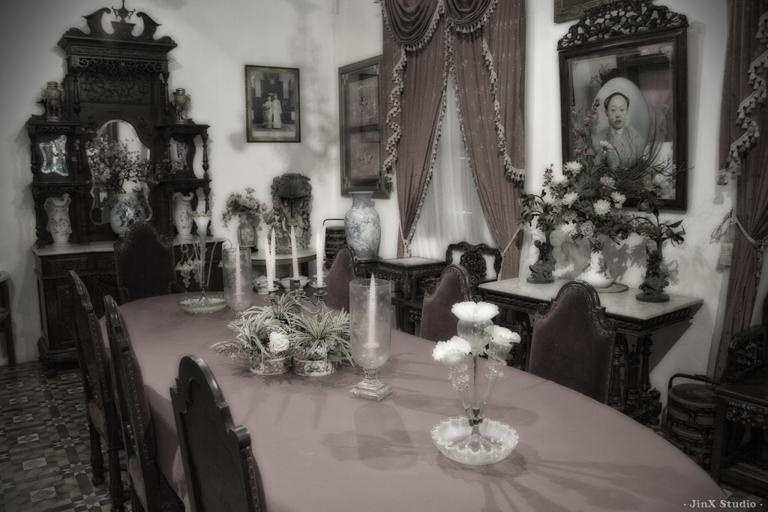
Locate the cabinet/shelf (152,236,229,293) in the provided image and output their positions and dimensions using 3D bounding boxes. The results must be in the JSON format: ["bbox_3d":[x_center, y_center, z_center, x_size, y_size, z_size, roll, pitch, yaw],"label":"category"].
[{"bbox_3d":[-2.013,0.145,6.143,0.217,0.613,0.582,-12,7,-42],"label":"cabinet/shelf"}]

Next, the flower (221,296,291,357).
[{"bbox_3d":[-0.663,0.403,2.982,0.339,0.175,0.353,5,21,21],"label":"flower"}]

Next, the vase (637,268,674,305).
[{"bbox_3d":[1.897,0.215,3.913,0.203,0.248,0.209,-1,4,-4],"label":"vase"}]

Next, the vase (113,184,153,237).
[{"bbox_3d":[-2.665,-0.459,5.789,0.348,0.574,0.356,12,20,30],"label":"vase"}]

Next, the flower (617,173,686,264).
[{"bbox_3d":[1.937,-0.310,4.072,0.429,0.673,0.326,-4,11,-23],"label":"flower"}]

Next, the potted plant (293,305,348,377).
[{"bbox_3d":[-0.348,0.480,2.970,0.300,0.261,0.324,2,2,-12],"label":"potted plant"}]

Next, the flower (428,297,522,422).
[{"bbox_3d":[0.405,0.501,2.636,0.500,0.715,0.248,-3,3,-26],"label":"flower"}]

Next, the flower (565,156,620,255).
[{"bbox_3d":[1.551,-0.380,4.145,0.428,0.679,0.284,1,6,23],"label":"flower"}]

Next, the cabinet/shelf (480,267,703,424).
[{"bbox_3d":[1.521,0.765,4.333,0.783,1.022,1.376,-8,12,-34],"label":"cabinet/shelf"}]

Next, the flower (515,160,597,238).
[{"bbox_3d":[1.342,-0.446,4.410,0.513,0.636,0.592,-5,16,-4],"label":"flower"}]

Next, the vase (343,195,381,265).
[{"bbox_3d":[-0.217,-0.328,5.978,0.518,0.730,0.542,0,13,6],"label":"vase"}]

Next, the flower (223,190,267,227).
[{"bbox_3d":[-1.586,-0.568,6.448,0.416,0.438,0.427,4,3,32],"label":"flower"}]

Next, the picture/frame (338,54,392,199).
[{"bbox_3d":[-0.242,-1.465,6.492,0.108,1.565,0.840,-5,7,-38],"label":"picture/frame"}]

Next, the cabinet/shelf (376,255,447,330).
[{"bbox_3d":[0.192,0.462,5.662,0.753,0.859,0.785,4,10,1],"label":"cabinet/shelf"}]

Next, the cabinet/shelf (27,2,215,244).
[{"bbox_3d":[-2.722,-1.349,5.739,1.603,2.431,0.506,-4,6,-35],"label":"cabinet/shelf"}]

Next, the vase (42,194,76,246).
[{"bbox_3d":[-3.271,-0.376,5.606,0.235,0.507,0.102,-4,6,-33],"label":"vase"}]

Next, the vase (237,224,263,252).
[{"bbox_3d":[-1.562,-0.227,6.381,0.232,0.343,0.218,-2,5,-16],"label":"vase"}]

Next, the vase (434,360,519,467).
[{"bbox_3d":[0.374,0.630,2.285,0.336,0.359,0.331,-2,6,3],"label":"vase"}]
